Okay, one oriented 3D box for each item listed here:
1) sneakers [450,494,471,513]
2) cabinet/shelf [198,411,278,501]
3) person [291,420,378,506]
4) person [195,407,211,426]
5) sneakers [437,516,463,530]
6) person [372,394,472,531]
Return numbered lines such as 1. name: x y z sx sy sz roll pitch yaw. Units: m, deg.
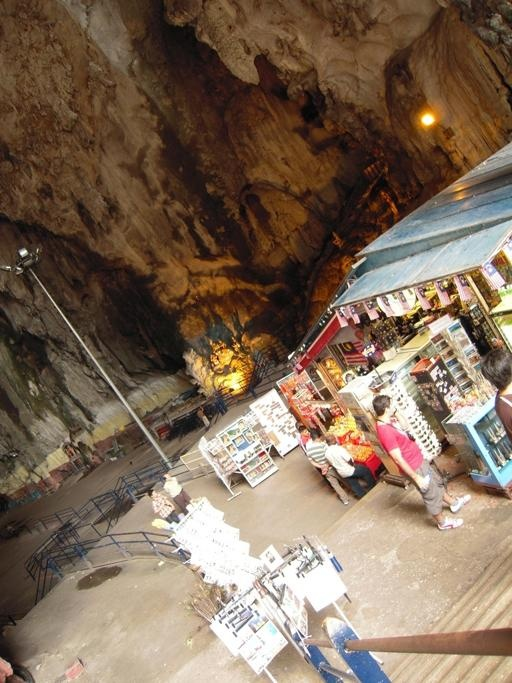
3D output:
1. sneakers: 2.712 2.167 6.340 0.349 0.143 0.137 -34 22 -19
2. cabinet/shelf: -0.460 3.364 13.410 2.020 1.923 1.509 -42 1 -4
3. person: 1.627 2.425 9.210 0.516 1.805 1.047 -34 0 -29
4. person: -2.562 3.689 22.917 0.308 0.259 1.006 -46 36 -5
5. sneakers: 2.568 2.373 6.121 0.359 0.150 0.123 -11 14 1
6. person: 2.034 1.591 6.054 0.417 2.099 0.334 -35 -1 -11
